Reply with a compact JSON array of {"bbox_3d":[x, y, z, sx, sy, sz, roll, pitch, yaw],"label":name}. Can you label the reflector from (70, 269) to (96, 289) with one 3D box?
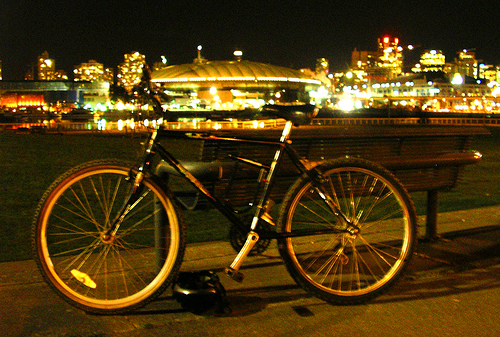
[{"bbox_3d":[-1.382,0.910,4.216,0.223,0.138,0.096,4,12,18],"label":"reflector"}]
